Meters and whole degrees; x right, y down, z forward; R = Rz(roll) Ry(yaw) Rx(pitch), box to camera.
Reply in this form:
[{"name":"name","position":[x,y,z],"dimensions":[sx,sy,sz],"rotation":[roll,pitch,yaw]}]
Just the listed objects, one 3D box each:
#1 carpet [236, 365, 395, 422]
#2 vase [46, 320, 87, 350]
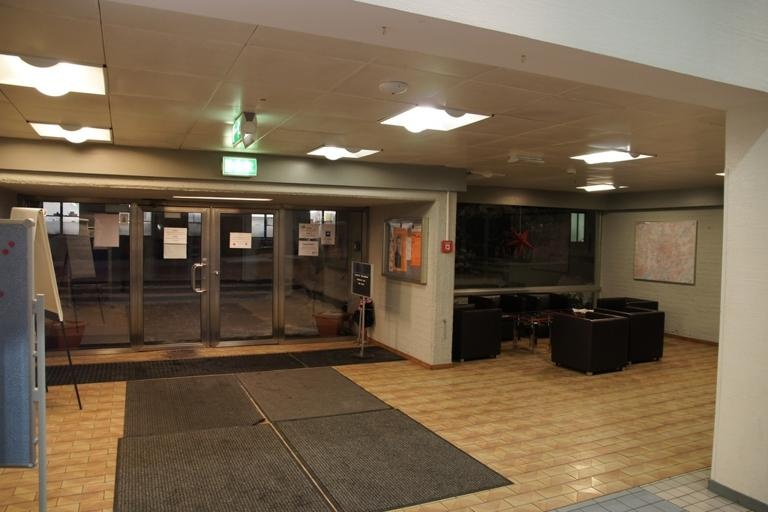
[{"name":"carpet","position":[-1.351,2.210,7.668],"dimensions":[2.031,0.022,3.052],"rotation":[-16,-28,5]},{"name":"vase","position":[-5.748,1.395,8.942],"dimensions":[0.662,0.530,0.218],"rotation":[0,7,-17]}]
